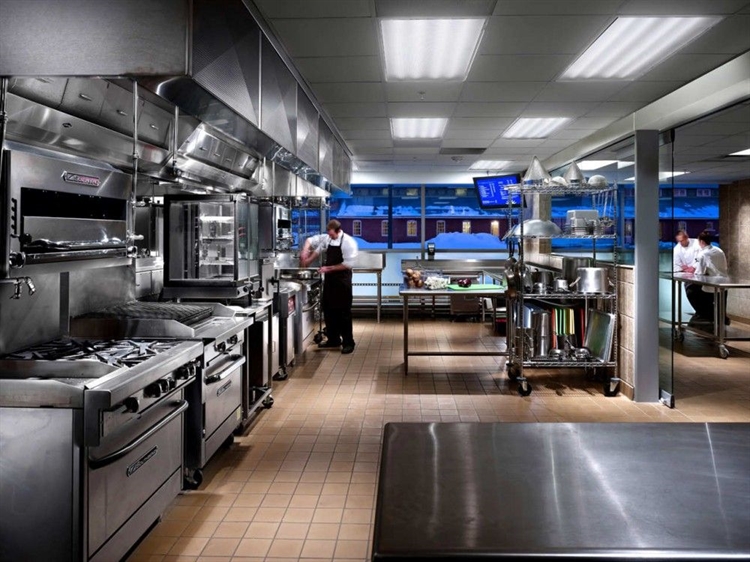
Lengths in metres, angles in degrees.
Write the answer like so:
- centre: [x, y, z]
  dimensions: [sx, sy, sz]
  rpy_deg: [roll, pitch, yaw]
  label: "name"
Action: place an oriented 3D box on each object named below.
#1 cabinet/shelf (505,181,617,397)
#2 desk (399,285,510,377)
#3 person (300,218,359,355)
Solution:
- centre: [1.879, 0.061, 5.859]
  dimensions: [1.577, 2.183, 1.372]
  rpy_deg: [1, 0, 1]
  label: "cabinet/shelf"
- centre: [0.905, 0.531, 6.123]
  dimensions: [1.178, 0.675, 1.141]
  rpy_deg: [0, -1, 1]
  label: "desk"
- centre: [-0.610, 0.082, 6.976]
  dimensions: [0.711, 1.764, 0.897]
  rpy_deg: [-2, 6, -18]
  label: "person"
